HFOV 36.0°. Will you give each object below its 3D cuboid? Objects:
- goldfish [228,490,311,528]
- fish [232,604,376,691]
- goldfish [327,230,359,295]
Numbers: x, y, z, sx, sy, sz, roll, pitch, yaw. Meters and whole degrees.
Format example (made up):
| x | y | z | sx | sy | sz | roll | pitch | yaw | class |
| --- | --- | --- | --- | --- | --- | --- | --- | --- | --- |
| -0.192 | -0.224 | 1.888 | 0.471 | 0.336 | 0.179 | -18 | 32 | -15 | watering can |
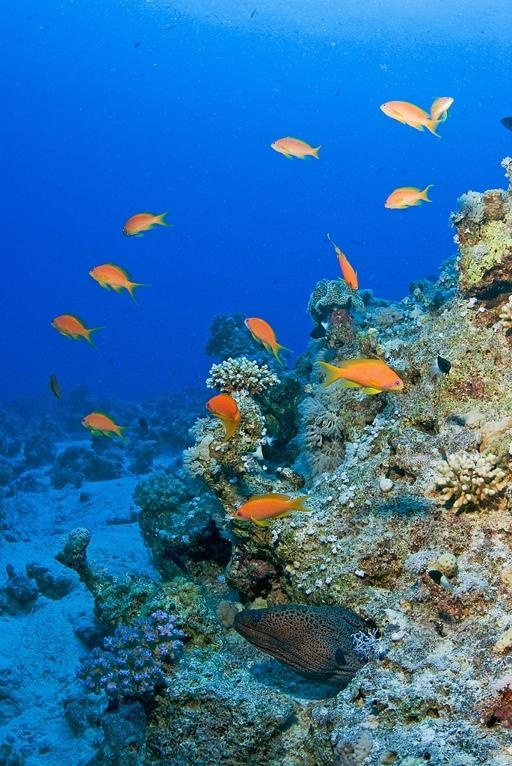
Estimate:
| x | y | z | sx | sy | sz | roll | pitch | yaw | class |
| --- | --- | --- | --- | --- | --- | --- | --- | --- | --- |
| 0.263 | 1.137 | 7.608 | 0.988 | 0.378 | 0.248 | -9 | 30 | 15 | goldfish |
| 0.462 | 2.612 | 7.929 | 1.276 | 0.763 | 0.445 | 10 | 30 | 10 | fish |
| 1.025 | -1.378 | 9.172 | 0.196 | 0.724 | 0.299 | -30 | 8 | -20 | goldfish |
